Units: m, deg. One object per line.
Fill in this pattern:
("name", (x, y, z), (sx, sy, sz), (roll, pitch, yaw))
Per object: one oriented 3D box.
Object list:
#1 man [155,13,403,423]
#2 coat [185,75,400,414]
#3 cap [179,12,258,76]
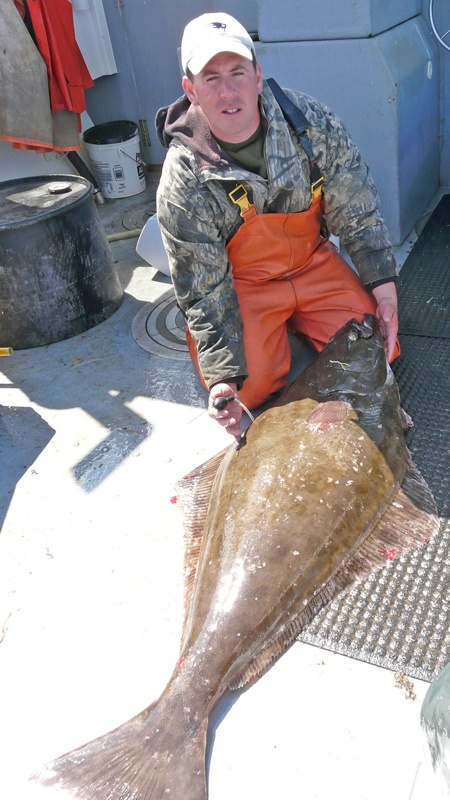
("man", (0.142, -0.506, 1.946), (0.730, 1.274, 0.663), (-25, 38, -2))
("coat", (0.208, -0.387, 1.990), (0.716, 1.145, 0.258), (-26, 32, -27))
("cap", (-0.032, -1.027, 1.758), (0.166, 0.142, 0.242), (-22, 15, 2))
